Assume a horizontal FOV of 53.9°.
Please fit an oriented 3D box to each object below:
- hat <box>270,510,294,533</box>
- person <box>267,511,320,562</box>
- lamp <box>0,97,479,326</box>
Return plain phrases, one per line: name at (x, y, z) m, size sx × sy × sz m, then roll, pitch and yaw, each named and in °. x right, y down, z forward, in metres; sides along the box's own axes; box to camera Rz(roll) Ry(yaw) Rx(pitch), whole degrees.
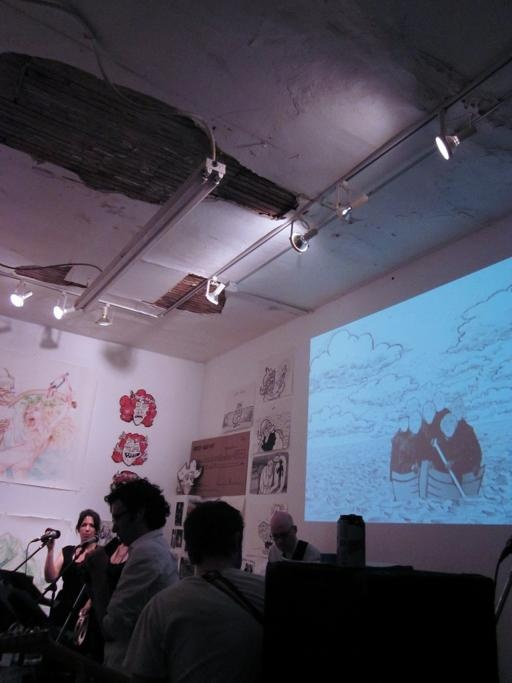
hat at (0.190, 1.375, 3.839) m, size 0.122 × 0.161 × 0.161 m, roll -6°, pitch -28°, yaw -3°
person at (0.293, 1.545, 3.932) m, size 0.377 × 0.395 × 0.706 m, roll 4°, pitch -16°, yaw 3°
lamp at (-0.390, -0.597, 3.720) m, size 3.938 × 0.506 × 1.588 m, roll -10°, pitch -21°, yaw 41°
